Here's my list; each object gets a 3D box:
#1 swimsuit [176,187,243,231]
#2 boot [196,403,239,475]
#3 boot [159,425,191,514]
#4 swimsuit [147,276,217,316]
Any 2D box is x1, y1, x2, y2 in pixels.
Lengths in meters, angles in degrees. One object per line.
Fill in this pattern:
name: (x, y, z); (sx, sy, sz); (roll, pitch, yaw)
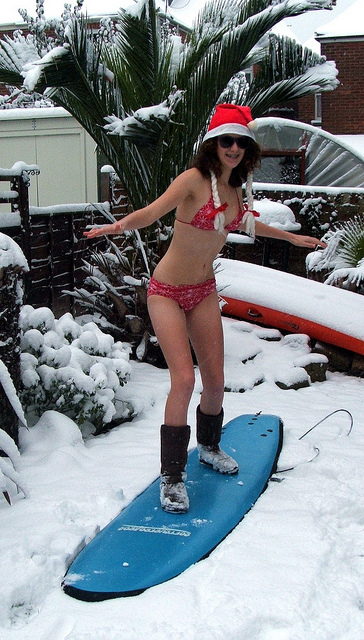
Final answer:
swimsuit: (0.113, -0.425, 1.922); (0.152, 0.063, 0.161); (-9, 10, 34)
boot: (0.170, 0.574, 2.268); (0.243, 0.246, 0.105); (10, 12, 40)
boot: (-0.027, 0.568, 1.933); (0.130, 0.315, 0.234); (3, 3, -2)
swimsuit: (0.003, -0.112, 2.072); (0.300, 0.167, 0.183); (4, 2, -6)
